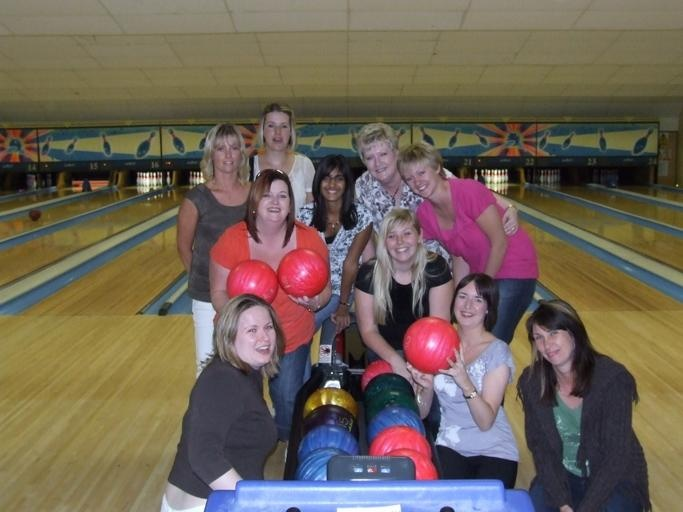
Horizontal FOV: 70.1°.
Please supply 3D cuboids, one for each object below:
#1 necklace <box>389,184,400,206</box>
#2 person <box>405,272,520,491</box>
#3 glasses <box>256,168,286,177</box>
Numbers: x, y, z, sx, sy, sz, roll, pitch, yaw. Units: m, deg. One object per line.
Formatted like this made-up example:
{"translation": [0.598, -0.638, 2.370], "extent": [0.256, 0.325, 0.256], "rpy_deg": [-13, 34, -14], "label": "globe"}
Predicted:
{"translation": [0.295, -0.334, 2.655], "extent": [0.028, 0.096, 0.065], "rpy_deg": [-8, -4, 2], "label": "necklace"}
{"translation": [0.465, 0.464, 1.917], "extent": [0.368, 0.759, 0.498], "rpy_deg": [-2, 11, -19], "label": "person"}
{"translation": [-0.302, -0.350, 2.060], "extent": [0.105, 0.031, 0.104], "rpy_deg": [-1, 12, -18], "label": "glasses"}
